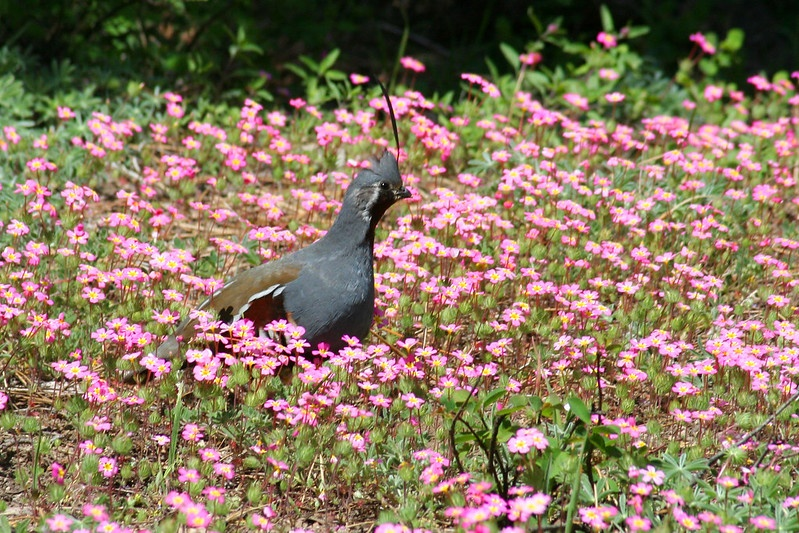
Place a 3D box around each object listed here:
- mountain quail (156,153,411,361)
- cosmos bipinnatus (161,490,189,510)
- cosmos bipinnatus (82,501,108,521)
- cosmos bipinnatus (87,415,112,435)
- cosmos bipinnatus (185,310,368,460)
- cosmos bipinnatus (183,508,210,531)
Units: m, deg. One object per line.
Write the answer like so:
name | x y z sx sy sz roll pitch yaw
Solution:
mountain quail | -0.856 -0.067 5.979 1.723 1.612 0.753 -2 42 -6
cosmos bipinnatus | -1.168 1.226 4.867 0.124 0.155 0.160 -1 44 -18
cosmos bipinnatus | -1.561 1.283 4.743 0.119 0.039 0.124 16 19 -25
cosmos bipinnatus | -1.697 0.882 5.194 0.099 0.029 0.112 9 11 -34
cosmos bipinnatus | -0.868 0.743 5.668 1.039 0.848 0.763 14 41 -3
cosmos bipinnatus | -1.046 1.327 4.805 0.120 0.102 0.068 -10 47 -27
